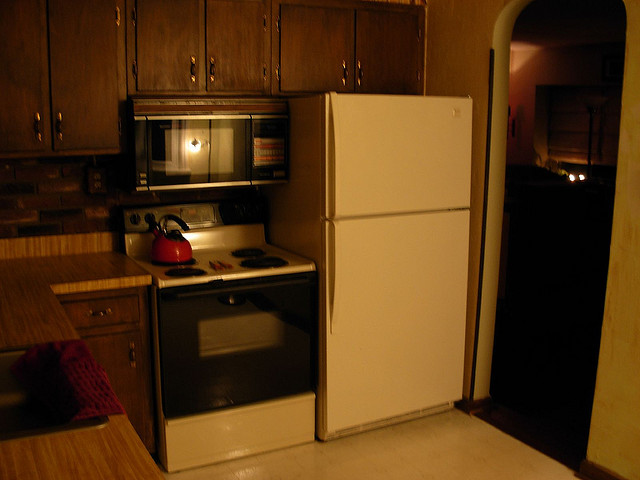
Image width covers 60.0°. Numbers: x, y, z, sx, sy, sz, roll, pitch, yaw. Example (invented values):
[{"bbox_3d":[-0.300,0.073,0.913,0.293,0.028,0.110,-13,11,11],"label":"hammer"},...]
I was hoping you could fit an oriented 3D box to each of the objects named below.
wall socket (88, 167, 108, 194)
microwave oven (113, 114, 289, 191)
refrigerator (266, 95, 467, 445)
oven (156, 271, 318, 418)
[{"bbox_3d":[-1.334,-0.342,3.329,0.112,0.242,0.149,0,3,-32],"label":"wall socket"},{"bbox_3d":[-0.658,-0.528,3.474,0.895,0.492,0.546,-3,0,-9],"label":"microwave oven"},{"bbox_3d":[0.376,0.074,3.692,1.017,2.086,0.915,-5,13,-20],"label":"refrigerator"},{"bbox_3d":[-0.503,0.591,3.317,0.868,0.983,0.619,-5,11,-15],"label":"oven"}]
